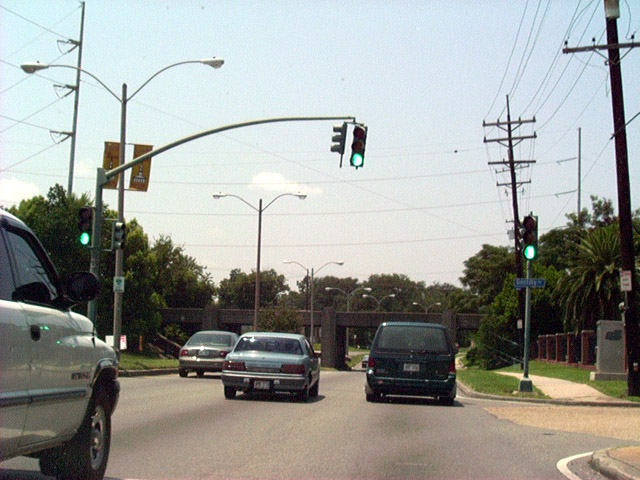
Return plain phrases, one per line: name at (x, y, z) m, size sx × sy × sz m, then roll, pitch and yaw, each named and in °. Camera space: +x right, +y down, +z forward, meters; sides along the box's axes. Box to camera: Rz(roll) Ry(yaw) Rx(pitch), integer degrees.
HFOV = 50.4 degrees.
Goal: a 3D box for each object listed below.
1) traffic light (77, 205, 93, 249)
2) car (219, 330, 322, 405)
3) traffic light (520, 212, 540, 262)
traffic light at (-6.654, -0.699, 19.407) m, size 0.317 × 1.197 × 0.353 m, roll -1°, pitch -23°, yaw -14°
car at (-1.292, 3.357, 18.164) m, size 2.201 × 1.810 × 2.429 m, roll -1°, pitch -11°, yaw 9°
traffic light at (6.551, -0.191, 21.344) m, size 0.460 × 1.588 × 1.200 m, roll -1°, pitch -10°, yaw 16°
